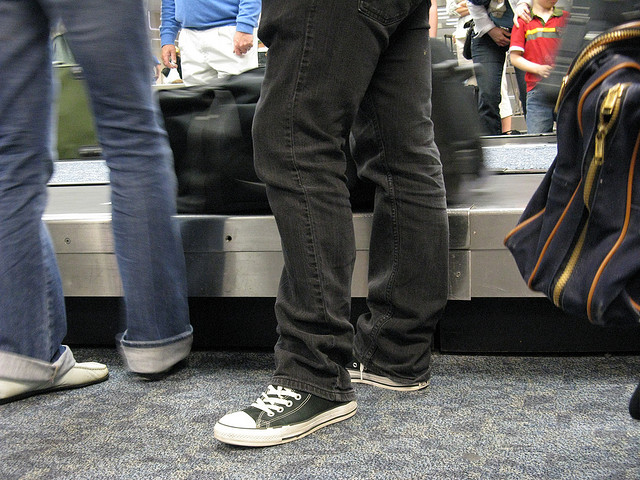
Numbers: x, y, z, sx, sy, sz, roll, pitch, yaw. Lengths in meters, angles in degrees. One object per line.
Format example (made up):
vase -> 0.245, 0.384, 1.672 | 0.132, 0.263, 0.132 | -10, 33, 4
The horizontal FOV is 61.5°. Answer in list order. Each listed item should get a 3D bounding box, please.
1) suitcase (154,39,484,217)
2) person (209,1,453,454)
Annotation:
suitcase -> 0.014, -0.251, 1.411 | 0.765, 0.230, 0.444 | -2, 6, 4
person -> 0.043, -0.071, 1.125 | 0.358, 0.817, 0.671 | 3, 10, 33
